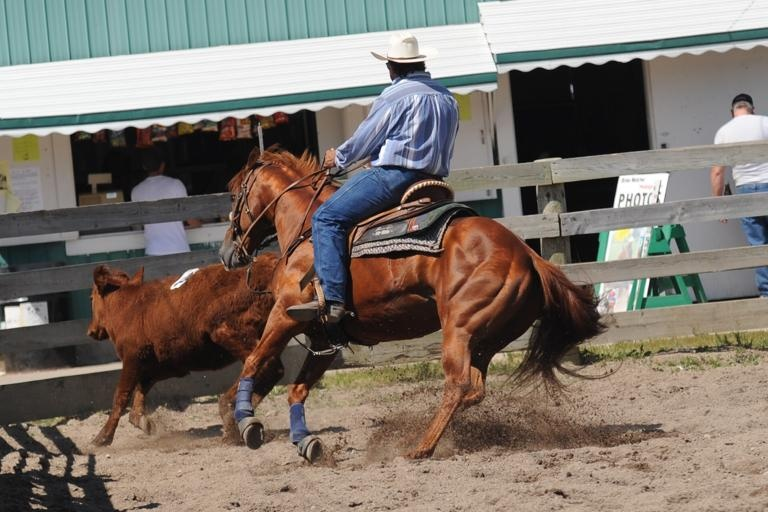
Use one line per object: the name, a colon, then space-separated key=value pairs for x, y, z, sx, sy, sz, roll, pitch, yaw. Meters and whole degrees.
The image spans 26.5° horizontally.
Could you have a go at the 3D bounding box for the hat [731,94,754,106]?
hat: x=4.928 y=-2.154 z=22.449 sx=0.220 sy=0.169 sz=0.313 roll=2 pitch=7 yaw=12

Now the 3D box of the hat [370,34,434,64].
hat: x=0.221 y=-2.522 z=19.876 sx=0.683 sy=0.307 sz=0.780 roll=-6 pitch=13 yaw=-14
